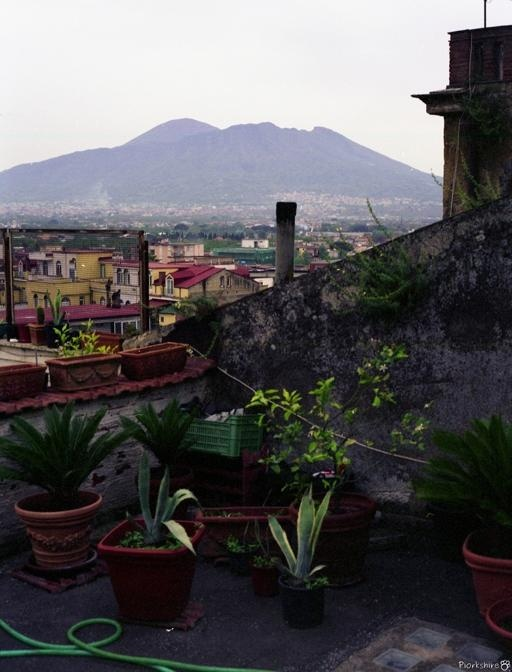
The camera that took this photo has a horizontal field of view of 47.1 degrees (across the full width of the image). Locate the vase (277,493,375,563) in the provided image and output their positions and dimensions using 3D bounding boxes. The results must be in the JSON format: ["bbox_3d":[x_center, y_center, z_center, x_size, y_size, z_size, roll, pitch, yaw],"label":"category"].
[{"bbox_3d":[0.424,1.075,3.137,0.428,0.321,0.423,-3,-1,-13],"label":"vase"}]

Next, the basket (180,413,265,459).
[{"bbox_3d":[-0.196,0.672,3.991,0.299,0.248,0.477,0,1,-43],"label":"basket"}]

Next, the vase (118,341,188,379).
[{"bbox_3d":[-0.775,0.197,4.421,0.180,0.242,0.573,1,2,44],"label":"vase"}]
